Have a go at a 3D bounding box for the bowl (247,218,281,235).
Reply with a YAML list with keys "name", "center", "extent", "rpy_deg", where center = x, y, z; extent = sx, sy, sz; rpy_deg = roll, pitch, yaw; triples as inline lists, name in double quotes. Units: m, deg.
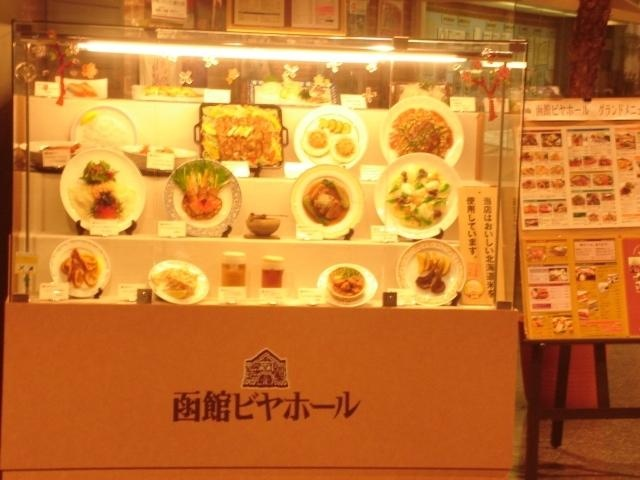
- name: "bowl"
  center: [-0.310, -0.072, 4.275]
  extent: [0.117, 0.068, 0.117]
  rpy_deg: [-1, 0, 0]
